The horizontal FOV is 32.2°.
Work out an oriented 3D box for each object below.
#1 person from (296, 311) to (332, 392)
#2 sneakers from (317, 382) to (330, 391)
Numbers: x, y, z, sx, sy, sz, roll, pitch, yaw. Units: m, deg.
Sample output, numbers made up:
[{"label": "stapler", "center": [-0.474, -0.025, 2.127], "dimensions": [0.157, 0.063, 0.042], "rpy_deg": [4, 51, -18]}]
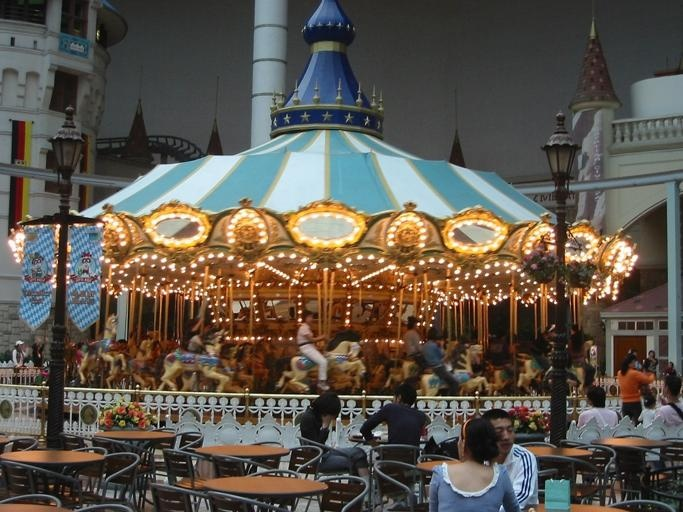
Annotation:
[{"label": "person", "center": [-0.535, 1.752, 21.830], "dimensions": [0.609, 1.458, 0.521], "rpy_deg": [1, -11, 2]}, {"label": "sneakers", "center": [-0.358, 2.375, 21.574], "dimensions": [0.164, 0.153, 0.059], "rpy_deg": [-4, -11, -2]}]
